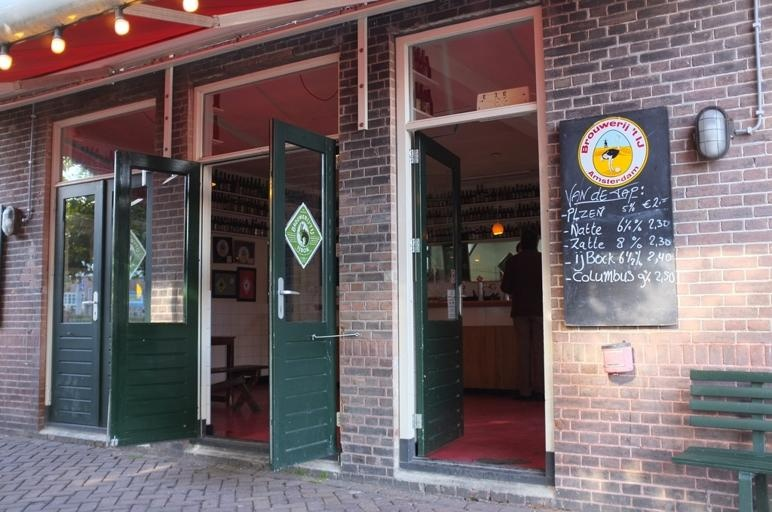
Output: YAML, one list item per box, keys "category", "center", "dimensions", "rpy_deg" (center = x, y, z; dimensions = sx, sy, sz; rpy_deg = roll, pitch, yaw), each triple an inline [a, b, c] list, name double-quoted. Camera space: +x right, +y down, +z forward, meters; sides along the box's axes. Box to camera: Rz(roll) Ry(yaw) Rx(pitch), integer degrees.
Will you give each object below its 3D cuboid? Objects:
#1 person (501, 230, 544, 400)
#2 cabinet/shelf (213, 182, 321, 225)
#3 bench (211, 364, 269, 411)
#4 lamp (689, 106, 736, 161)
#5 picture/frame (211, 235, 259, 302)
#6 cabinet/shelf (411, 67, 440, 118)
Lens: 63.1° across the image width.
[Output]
- category: "person"
  center: [2.138, 0.891, 9.595]
  dimensions: [0.629, 2.507, 0.556]
  rpy_deg: [-3, 0, 26]
- category: "cabinet/shelf"
  center: [-1.853, -0.783, 9.151]
  dimensions: [1.155, 0.398, 0.302]
  rpy_deg: [3, -4, -30]
- category: "bench"
  center: [-2.276, 1.988, 9.668]
  dimensions: [0.559, 0.530, 0.711]
  rpy_deg: [-7, -20, 13]
- category: "lamp"
  center: [2.797, -1.056, 5.390]
  dimensions: [0.229, 0.472, 0.296]
  rpy_deg: [-20, 17, -41]
- category: "picture/frame"
  center: [-3.109, 0.238, 12.729]
  dimensions: [0.070, 1.341, 1.323]
  rpy_deg: [-5, -7, 36]
- category: "cabinet/shelf"
  center: [0.360, -1.688, 6.691]
  dimensions: [0.148, 0.377, 0.436]
  rpy_deg: [-7, 0, 27]
